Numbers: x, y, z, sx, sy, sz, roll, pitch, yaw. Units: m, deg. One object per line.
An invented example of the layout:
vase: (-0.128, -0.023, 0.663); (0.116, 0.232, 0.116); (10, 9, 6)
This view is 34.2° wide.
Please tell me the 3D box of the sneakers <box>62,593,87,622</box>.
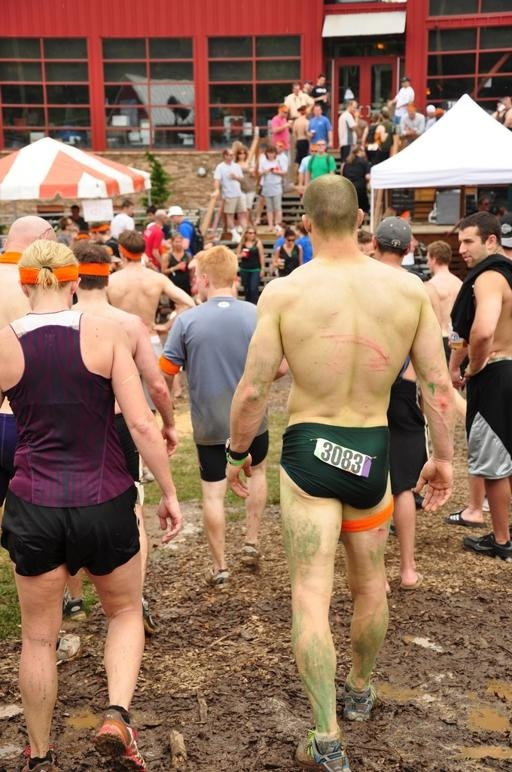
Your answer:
sneakers: (-0.929, 1.141, 4.265); (0.084, 0.086, 0.208); (-1, 2, -14)

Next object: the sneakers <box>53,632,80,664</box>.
sneakers: (-0.855, 1.203, 3.847); (0.109, 0.102, 0.237); (4, -1, -3)

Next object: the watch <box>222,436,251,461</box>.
watch: (-0.073, 0.238, 3.259); (0.081, 0.097, 0.060); (0, -22, 2)

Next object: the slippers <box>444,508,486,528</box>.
slippers: (1.405, 0.879, 5.593); (0.269, 0.104, 0.095); (6, 5, 29)

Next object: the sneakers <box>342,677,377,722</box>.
sneakers: (0.405, 1.220, 3.210); (0.075, 0.082, 0.199); (1, 4, 6)

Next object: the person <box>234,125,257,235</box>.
person: (-0.255, -3.887, 16.170); (0.568, 1.672, 0.526); (-3, 20, 7)

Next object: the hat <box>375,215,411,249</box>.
hat: (0.710, -0.776, 4.284); (0.142, 0.197, 0.111); (8, -33, 3)

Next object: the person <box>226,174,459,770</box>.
person: (0.257, 0.328, 2.860); (0.714, 2.046, 0.972); (6, 18, 19)
